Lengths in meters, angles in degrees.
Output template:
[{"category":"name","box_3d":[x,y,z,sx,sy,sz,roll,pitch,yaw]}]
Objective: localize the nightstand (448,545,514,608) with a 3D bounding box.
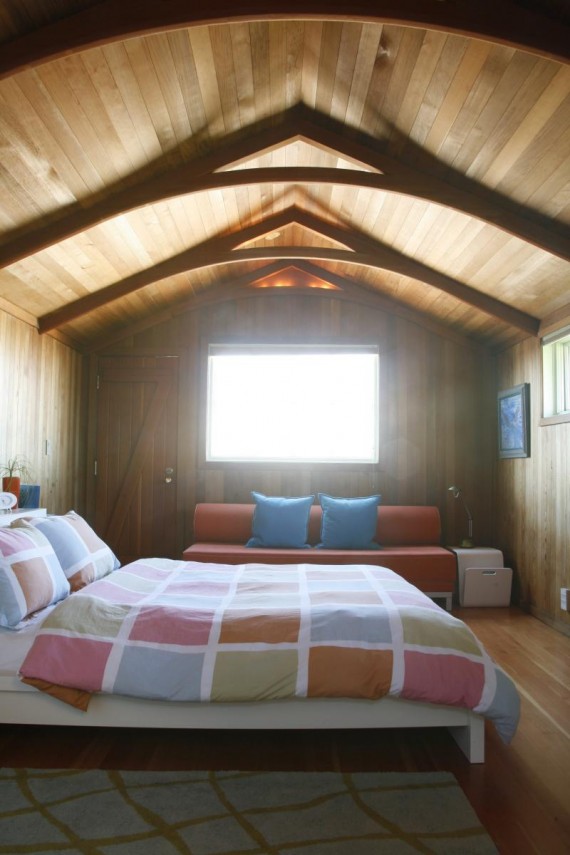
[{"category":"nightstand","box_3d":[1.469,1.119,4.717,0.346,0.325,0.445,0,-11,5]}]

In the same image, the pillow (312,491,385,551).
[{"category":"pillow","box_3d":[0.490,0.723,4.837,0.455,0.435,0.180,0,-11,5]}]

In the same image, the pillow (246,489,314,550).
[{"category":"pillow","box_3d":[-0.035,0.713,4.819,0.343,0.332,0.136,2,-36,6]}]
